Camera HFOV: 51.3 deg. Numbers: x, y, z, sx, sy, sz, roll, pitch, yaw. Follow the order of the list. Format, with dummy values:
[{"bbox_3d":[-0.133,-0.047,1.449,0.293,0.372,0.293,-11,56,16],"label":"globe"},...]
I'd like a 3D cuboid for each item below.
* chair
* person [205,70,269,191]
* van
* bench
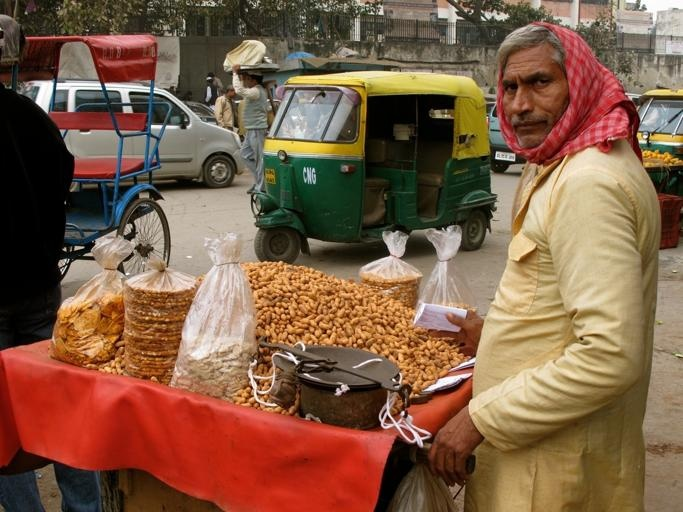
[{"bbox_3d":[1.126,-1.061,9.092,0.480,0.838,0.480,15,21,37],"label":"chair"},{"bbox_3d":[-1.421,-2.103,11.669,1.038,2.666,1.038,-9,16,-44],"label":"person"},{"bbox_3d":[-3.566,-2.233,12.843,3.858,1.972,2.266,-8,15,-34],"label":"van"},{"bbox_3d":[-2.538,-0.927,7.240,1.027,1.105,0.835,1,7,8],"label":"bench"}]
